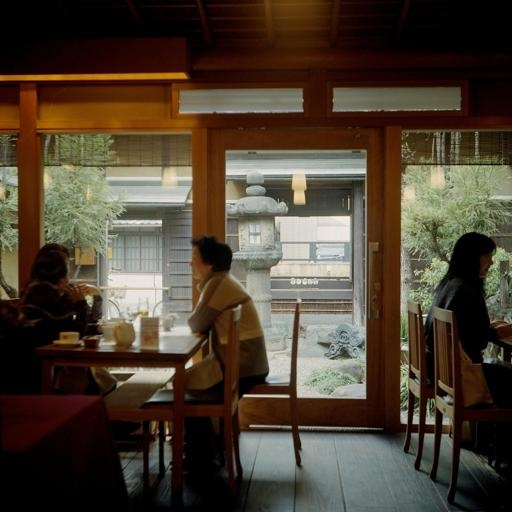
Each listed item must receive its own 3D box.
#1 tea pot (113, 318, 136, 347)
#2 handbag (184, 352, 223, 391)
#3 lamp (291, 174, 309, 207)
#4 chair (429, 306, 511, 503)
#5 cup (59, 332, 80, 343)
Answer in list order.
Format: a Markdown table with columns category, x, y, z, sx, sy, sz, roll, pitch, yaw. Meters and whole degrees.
| category | x | y | z | sx | sy | sz | roll | pitch | yaw |
| --- | --- | --- | --- | --- | --- | --- | --- | --- | --- |
| tea pot | -0.627 | 0.396 | 2.471 | 0.083 | 0.121 | 0.119 | 0 | -2 | 11 |
| handbag | -0.267 | 0.615 | 2.616 | 0.199 | 0.070 | 0.126 | -34 | 16 | -9 |
| lamp | 0.384 | -0.617 | 4.551 | 0.117 | 0.293 | 0.199 | 0 | 1 | 8 |
| chair | 1.061 | 0.718 | 2.546 | 0.324 | 0.919 | 0.396 | -1 | 1 | 0 |
| cup | -0.896 | 0.399 | 2.410 | 0.059 | 0.042 | 0.062 | 0 | -11 | 0 |
